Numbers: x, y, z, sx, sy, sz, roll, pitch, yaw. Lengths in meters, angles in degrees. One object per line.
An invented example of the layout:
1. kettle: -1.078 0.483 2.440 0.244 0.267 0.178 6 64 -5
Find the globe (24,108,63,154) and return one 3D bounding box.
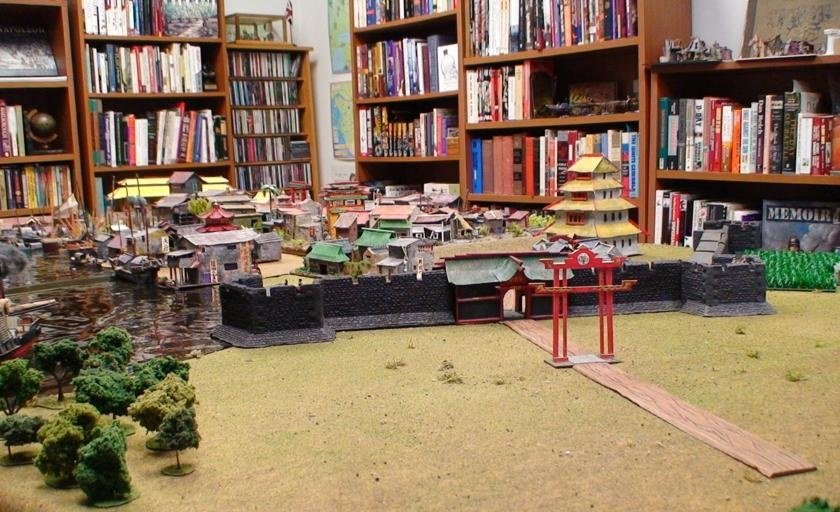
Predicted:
1. globe: -4.540 -1.516 7.559 0.434 0.462 0.452 12 16 39
